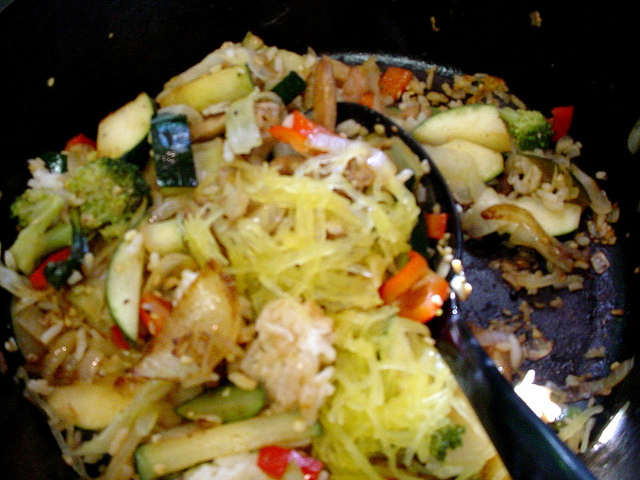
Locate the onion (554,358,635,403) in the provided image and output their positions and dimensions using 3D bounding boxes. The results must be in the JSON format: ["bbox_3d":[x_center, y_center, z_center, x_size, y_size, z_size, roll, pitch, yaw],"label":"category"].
[{"bbox_3d":[1.736,0.893,3.910,0.549,0.059,0.141,-20,71,-6],"label":"onion"}]

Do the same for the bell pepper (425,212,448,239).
[{"bbox_3d":[0.669,-0.087,3.642,0.127,0.081,0.147,11,71,5],"label":"bell pepper"}]

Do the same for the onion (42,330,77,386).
[{"bbox_3d":[-1.466,0.652,3.558,0.122,0.062,0.319,27,73,10],"label":"onion"}]

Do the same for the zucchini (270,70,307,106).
[{"bbox_3d":[-0.181,-0.988,4.046,0.333,0.248,0.079,13,26,22],"label":"zucchini"}]

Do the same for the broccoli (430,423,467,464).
[{"bbox_3d":[0.705,1.108,3.450,0.189,0.204,0.060,-4,25,-21],"label":"broccoli"}]

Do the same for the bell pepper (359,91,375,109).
[{"bbox_3d":[0.329,-0.936,4.149,0.100,0.047,0.127,25,73,10],"label":"bell pepper"}]

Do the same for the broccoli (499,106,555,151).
[{"bbox_3d":[1.356,-0.748,4.268,0.338,0.280,0.312,-10,21,-14],"label":"broccoli"}]

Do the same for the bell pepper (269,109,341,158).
[{"bbox_3d":[-0.073,-0.616,3.740,0.398,0.092,0.257,19,47,3],"label":"bell pepper"}]

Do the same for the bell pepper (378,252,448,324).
[{"bbox_3d":[0.541,0.277,3.516,0.377,0.107,0.367,46,111,33],"label":"bell pepper"}]
